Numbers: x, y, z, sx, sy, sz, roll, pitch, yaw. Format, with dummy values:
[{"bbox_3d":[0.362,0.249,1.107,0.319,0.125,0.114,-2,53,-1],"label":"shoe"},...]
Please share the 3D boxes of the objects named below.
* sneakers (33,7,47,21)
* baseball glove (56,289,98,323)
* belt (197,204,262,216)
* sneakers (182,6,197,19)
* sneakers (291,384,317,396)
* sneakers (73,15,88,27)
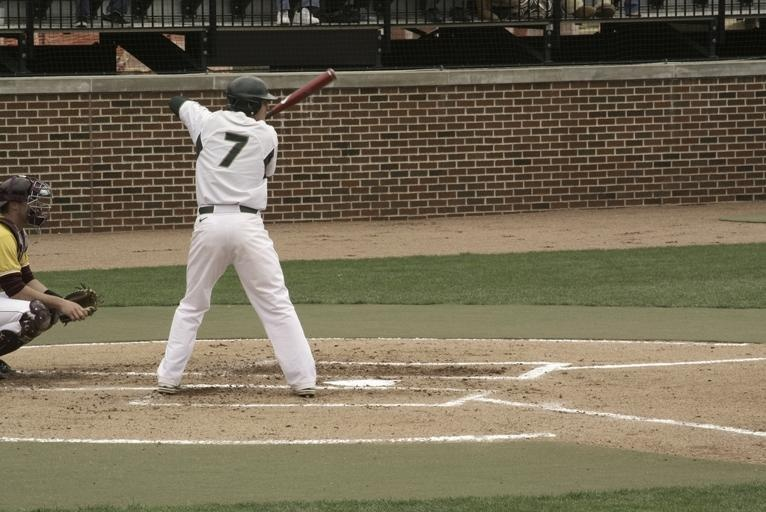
[{"bbox_3d":[-6.402,-4.547,39.009,0.288,0.282,0.271,1,3,1],"label":"sneakers"},{"bbox_3d":[-4.434,0.689,30.055,0.758,0.321,0.536,-4,-5,20],"label":"baseball glove"},{"bbox_3d":[-2.159,-0.662,29.047,0.828,0.175,0.169,1,8,-6],"label":"belt"},{"bbox_3d":[-3.661,-4.583,39.240,0.291,0.250,0.270,4,0,17],"label":"sneakers"},{"bbox_3d":[-1.125,1.866,29.336,0.336,0.131,0.137,-1,-1,3],"label":"sneakers"},{"bbox_3d":[-5.595,-4.367,38.775,0.340,0.210,0.112,17,28,32],"label":"sneakers"}]
